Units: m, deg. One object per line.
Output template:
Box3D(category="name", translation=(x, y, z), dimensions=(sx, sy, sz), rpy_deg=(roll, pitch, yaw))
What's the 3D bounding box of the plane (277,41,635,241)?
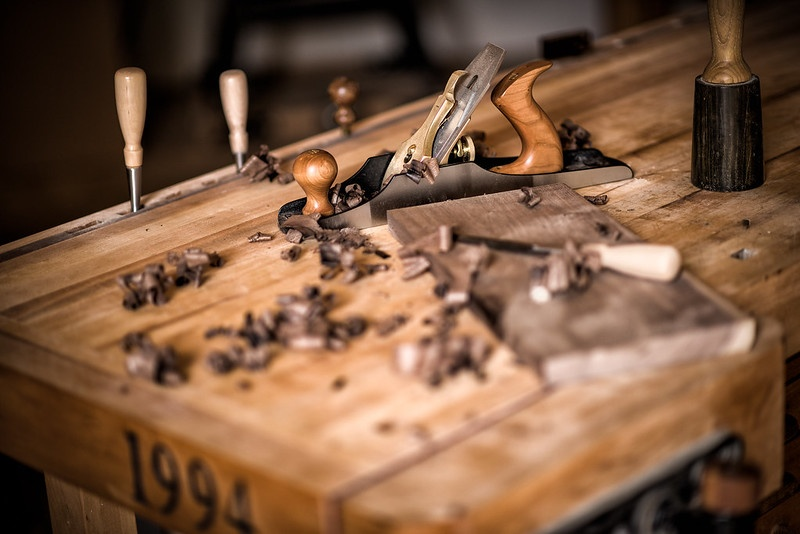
Box3D(category="plane", translation=(0.134, -0.299, 1.567), dimensions=(0.799, 0.349, 0.217), rpy_deg=(-12, 11, -7))
